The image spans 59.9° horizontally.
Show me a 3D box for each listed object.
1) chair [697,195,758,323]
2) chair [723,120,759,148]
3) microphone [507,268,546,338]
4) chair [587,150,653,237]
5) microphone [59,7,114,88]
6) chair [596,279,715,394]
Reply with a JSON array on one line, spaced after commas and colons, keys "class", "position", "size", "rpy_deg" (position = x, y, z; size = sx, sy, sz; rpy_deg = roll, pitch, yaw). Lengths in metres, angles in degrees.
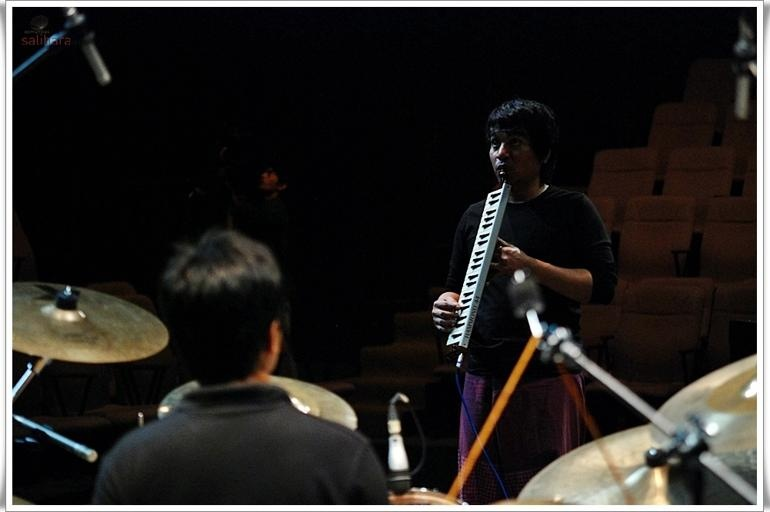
[{"class": "chair", "position": [2.282, -0.028, 4.438], "size": [0.339, 0.758, 0.615], "rpy_deg": [3, 4, 25]}, {"class": "chair", "position": [2.820, -0.979, 5.272], "size": [0.158, 0.226, 0.320], "rpy_deg": [0, 4, -28]}, {"class": "microphone", "position": [0.328, 0.107, 1.524], "size": [0.085, 0.153, 0.185], "rpy_deg": [2, 3, 12]}, {"class": "chair", "position": [1.727, -0.520, 5.113], "size": [0.549, 0.695, 0.632], "rpy_deg": [3, 0, 35]}, {"class": "microphone", "position": [-0.942, -0.674, 2.112], "size": [0.132, 0.294, 0.401], "rpy_deg": [0, 4, -23]}, {"class": "chair", "position": [1.818, 0.467, 4.098], "size": [0.560, 0.801, 0.691], "rpy_deg": [1, -3, 32]}]
